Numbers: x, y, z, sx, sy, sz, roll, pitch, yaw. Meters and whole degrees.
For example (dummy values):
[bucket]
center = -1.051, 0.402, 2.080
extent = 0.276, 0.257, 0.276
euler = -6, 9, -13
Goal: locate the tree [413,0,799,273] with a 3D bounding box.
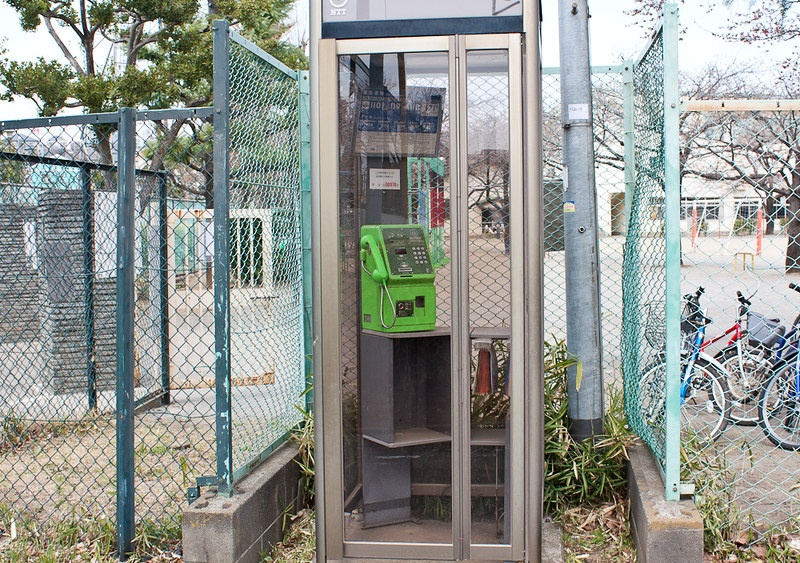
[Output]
[tree]
center = 1.866, -1.233, 6.628
extent = 2.345, 2.619, 2.259
euler = 2, 10, 22
